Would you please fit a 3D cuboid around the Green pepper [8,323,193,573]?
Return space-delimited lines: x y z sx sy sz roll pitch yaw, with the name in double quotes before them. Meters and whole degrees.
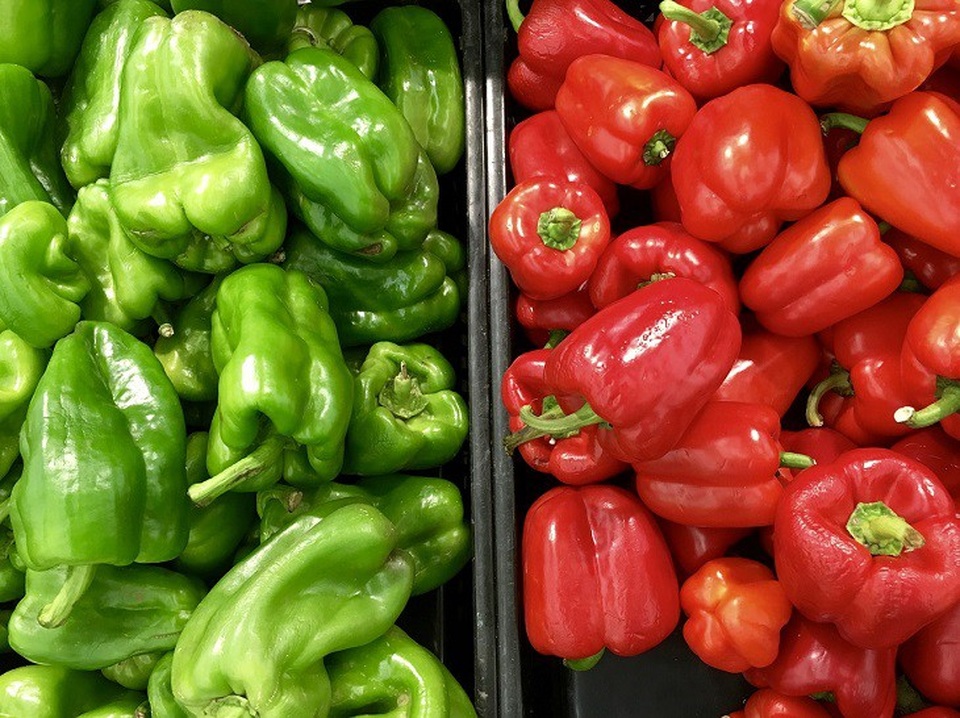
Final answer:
"Green pepper" -1.020 0.247 2.616 0.335 0.391 0.645 -13 64 31

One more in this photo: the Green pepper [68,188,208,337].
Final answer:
"Green pepper" -1.022 -0.267 2.906 0.239 0.184 0.477 -29 99 5
